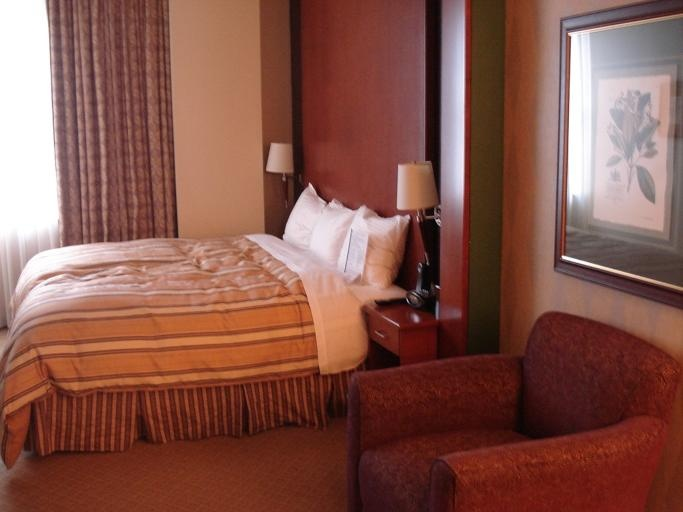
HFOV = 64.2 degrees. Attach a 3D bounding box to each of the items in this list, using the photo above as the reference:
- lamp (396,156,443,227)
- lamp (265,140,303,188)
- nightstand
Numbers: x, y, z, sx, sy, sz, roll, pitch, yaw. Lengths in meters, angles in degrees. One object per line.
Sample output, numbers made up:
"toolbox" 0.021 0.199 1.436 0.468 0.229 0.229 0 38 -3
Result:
"lamp" 0.460 -0.372 3.237 0.243 0.374 0.391 0 14 9
"lamp" -0.647 -1.004 5.895 0.393 0.434 0.372 -12 17 -33
"nightstand" 0.354 0.577 3.387 0.282 0.477 0.463 -5 13 -25
